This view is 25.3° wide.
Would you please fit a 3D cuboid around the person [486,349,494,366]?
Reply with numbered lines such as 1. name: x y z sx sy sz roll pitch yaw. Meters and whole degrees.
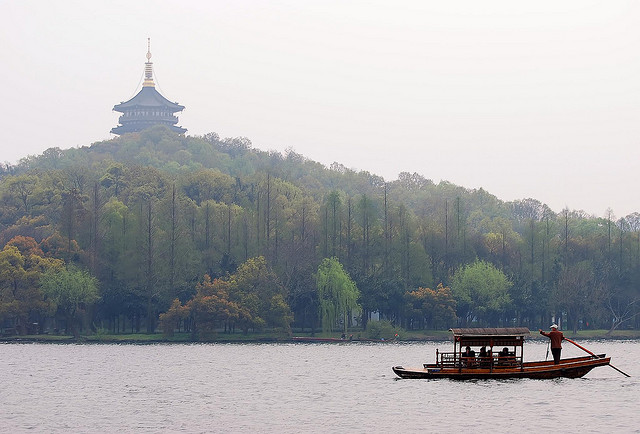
1. person: 16.605 13.577 138.207 0.710 1.444 1.211 1 11 13

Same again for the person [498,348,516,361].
1. person: 18.337 13.372 138.597 1.312 0.931 1.291 -1 -3 6

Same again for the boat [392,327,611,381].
1. boat: 18.090 13.791 139.581 19.867 5.172 4.900 -1 -7 7
